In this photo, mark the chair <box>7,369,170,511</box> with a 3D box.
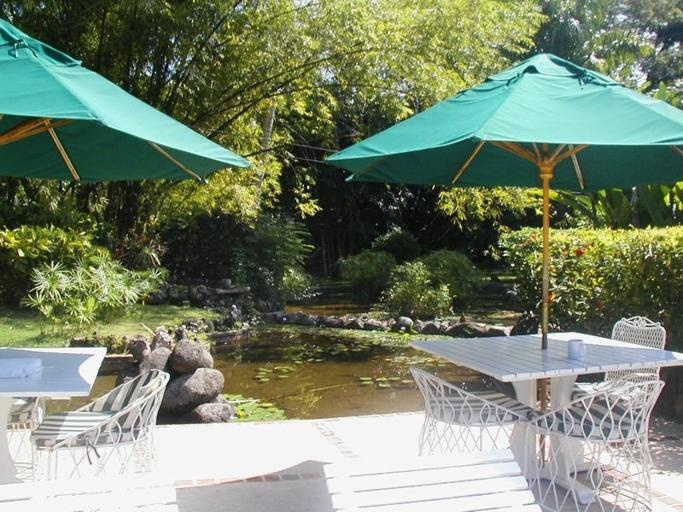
[{"bbox_3d":[-1.720,1.220,4.660,1.017,0.792,0.811,5,-1,-13],"label":"chair"}]

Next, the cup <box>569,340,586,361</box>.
[{"bbox_3d":[1.681,0.668,4.805,0.088,0.137,0.147,2,1,3],"label":"cup"}]
